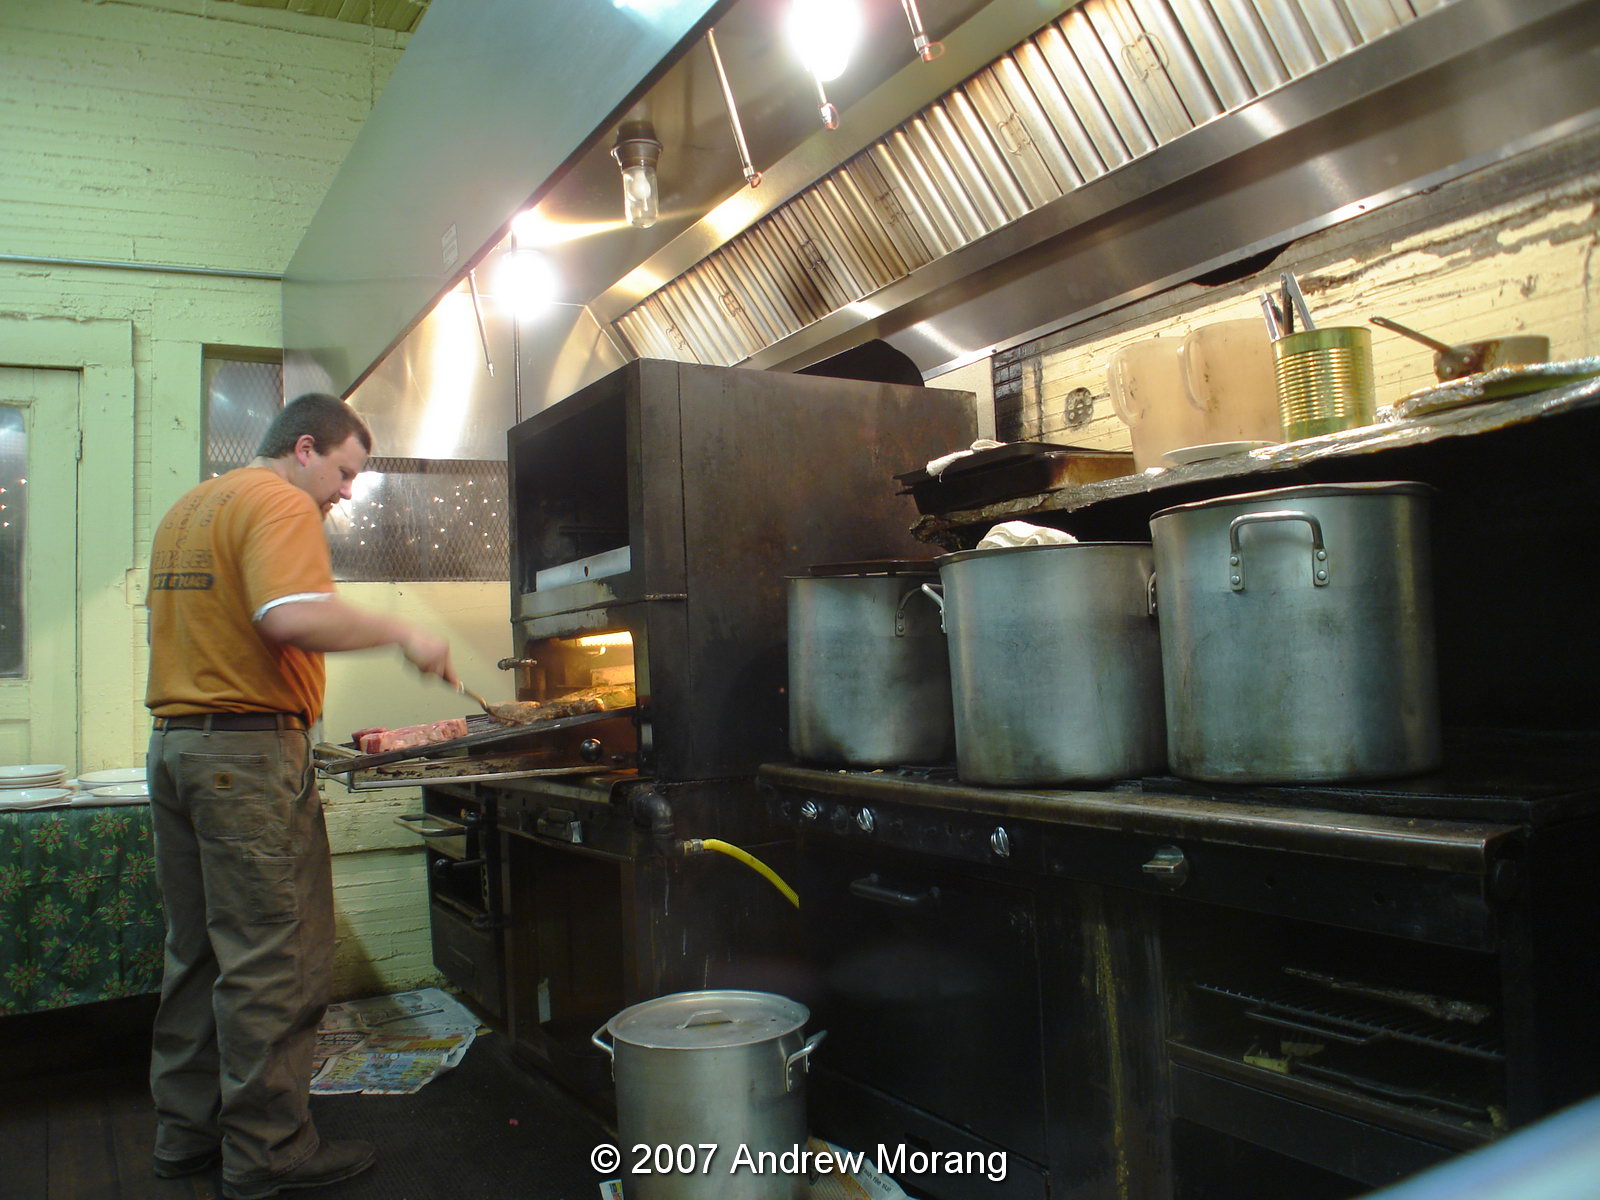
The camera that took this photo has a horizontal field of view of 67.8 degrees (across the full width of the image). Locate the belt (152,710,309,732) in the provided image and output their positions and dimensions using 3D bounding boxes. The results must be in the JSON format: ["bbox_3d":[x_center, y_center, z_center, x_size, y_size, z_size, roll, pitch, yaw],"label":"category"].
[{"bbox_3d":[-1.416,0.302,2.960,0.367,0.061,0.179,-1,-1,-14],"label":"belt"}]

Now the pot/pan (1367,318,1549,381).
[{"bbox_3d":[1.165,-0.450,2.146,0.197,0.086,0.247,-1,-1,-15],"label":"pot/pan"}]

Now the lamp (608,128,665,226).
[{"bbox_3d":[-0.414,-1.098,3.040,0.165,0.240,0.162,-3,15,13],"label":"lamp"}]

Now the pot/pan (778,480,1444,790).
[{"bbox_3d":[0.684,0.073,2.158,0.737,0.325,0.530,-6,-3,38],"label":"pot/pan"}]

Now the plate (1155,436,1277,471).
[{"bbox_3d":[0.781,-0.285,2.284,0.069,0.052,0.220,0,-2,-42],"label":"plate"}]

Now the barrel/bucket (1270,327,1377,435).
[{"bbox_3d":[0.959,-0.408,2.299,0.196,0.213,0.199,-3,-5,0],"label":"barrel/bucket"}]

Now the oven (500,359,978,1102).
[{"bbox_3d":[-0.230,0.433,3.637,1.186,1.975,1.248,3,-9,-39],"label":"oven"}]

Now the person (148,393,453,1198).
[{"bbox_3d":[-1.300,0.440,3.007,0.743,2.006,0.404,-3,-2,27],"label":"person"}]
